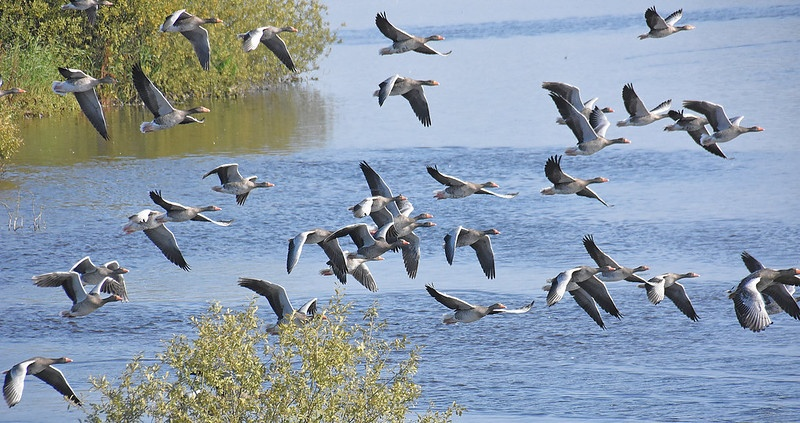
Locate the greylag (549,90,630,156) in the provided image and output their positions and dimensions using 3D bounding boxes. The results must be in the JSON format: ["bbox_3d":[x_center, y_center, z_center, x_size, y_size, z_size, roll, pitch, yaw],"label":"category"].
[{"bbox_3d":[8.500,-4.013,60.349,2.333,3.205,2.350,-6,14,9],"label":"greylag"}]

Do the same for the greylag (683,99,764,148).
[{"bbox_3d":[14.794,-4.192,61.274,2.731,2.271,1.320,-5,14,9],"label":"greylag"}]

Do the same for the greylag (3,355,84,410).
[{"bbox_3d":[-15.146,7.158,54.110,2.788,2.076,1.749,-14,14,-28],"label":"greylag"}]

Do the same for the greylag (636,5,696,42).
[{"bbox_3d":[12.478,-9.122,63.115,2.424,0.762,3.093,14,11,25],"label":"greylag"}]
